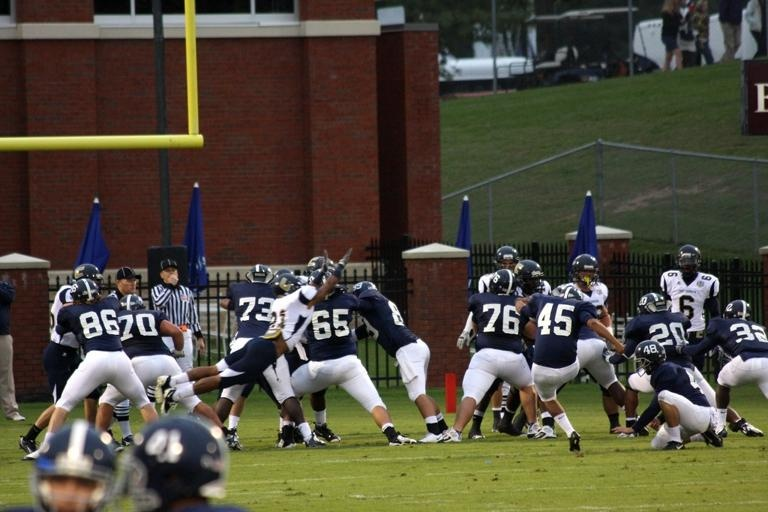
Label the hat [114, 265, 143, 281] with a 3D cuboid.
[{"bbox_3d":[-5.714,0.373,40.008,0.439,0.289,0.291,-11,-3,13],"label":"hat"}]
